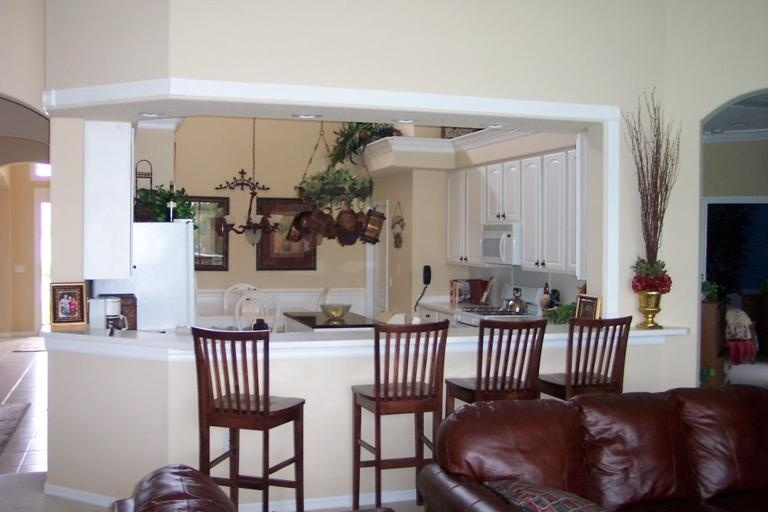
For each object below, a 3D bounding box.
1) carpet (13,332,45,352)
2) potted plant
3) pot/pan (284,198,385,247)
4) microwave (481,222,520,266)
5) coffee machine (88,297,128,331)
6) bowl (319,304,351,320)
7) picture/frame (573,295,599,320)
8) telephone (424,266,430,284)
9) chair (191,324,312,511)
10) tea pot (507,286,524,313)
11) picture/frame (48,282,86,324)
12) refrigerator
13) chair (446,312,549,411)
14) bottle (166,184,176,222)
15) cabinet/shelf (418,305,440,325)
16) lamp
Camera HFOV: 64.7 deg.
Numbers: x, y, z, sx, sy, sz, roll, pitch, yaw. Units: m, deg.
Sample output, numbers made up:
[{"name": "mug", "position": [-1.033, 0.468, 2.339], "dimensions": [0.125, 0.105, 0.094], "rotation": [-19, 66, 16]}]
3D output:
[{"name": "carpet", "position": [-6.403, 1.483, 10.883], "dimensions": [0.504, 0.231, 2.160], "rotation": [0, 1, -32]}, {"name": "potted plant", "position": [2.391, -0.423, 5.311], "dimensions": [0.558, 2.127, 0.251], "rotation": [0, 1, -19]}, {"name": "pot/pan", "position": [-0.485, -0.305, 6.187], "dimensions": [0.992, 0.374, 0.502], "rotation": [0, 1, 6]}, {"name": "microwave", "position": [1.378, -0.153, 7.251], "dimensions": [0.161, 0.492, 0.541], "rotation": [-1, 1, -35]}, {"name": "coffee machine", "position": [-2.349, 0.498, 5.185], "dimensions": [0.312, 0.312, 0.187], "rotation": [7, 13, -3]}, {"name": "bowl", "position": [-0.569, 0.632, 6.962], "dimensions": [0.313, 0.158, 0.435], "rotation": [0, 1, -9]}, {"name": "picture/frame", "position": [1.792, 0.459, 5.359], "dimensions": [0.025, 0.181, 0.180], "rotation": [6, 8, -25]}, {"name": "telephone", "position": [0.585, 0.255, 8.292], "dimensions": [0.107, 0.268, 0.078], "rotation": [0, 1, -3]}, {"name": "chair", "position": [-0.978, 1.204, 4.433], "dimensions": [0.769, 1.434, 0.767], "rotation": [0, 1, -6]}, {"name": "tea pot", "position": [1.589, 0.544, 7.362], "dimensions": [0.283, 0.280, 0.226], "rotation": [0, 2, -36]}, {"name": "picture/frame", "position": [-2.612, 0.382, 5.002], "dimensions": [0.347, 0.469, 0.050], "rotation": [0, 5, -24]}, {"name": "refrigerator", "position": [-2.370, 0.158, 6.327], "dimensions": [1.026, 1.512, 0.823], "rotation": [0, 3, -7]}, {"name": "chair", "position": [0.876, 0.998, 4.765], "dimensions": [0.671, 1.014, 0.686], "rotation": [3, -4, -23]}, {"name": "bottle", "position": [-2.023, -0.507, 5.770], "dimensions": [0.079, 0.360, 0.242], "rotation": [0, 1, -17]}, {"name": "cabinet/shelf", "position": [0.572, 0.781, 8.109], "dimensions": [0.231, 0.342, 0.358], "rotation": [1, 0, -14]}, {"name": "lamp", "position": [-1.931, -1.200, 8.425], "dimensions": [0.785, 2.082, 3.206], "rotation": [0, 1, -13]}]
